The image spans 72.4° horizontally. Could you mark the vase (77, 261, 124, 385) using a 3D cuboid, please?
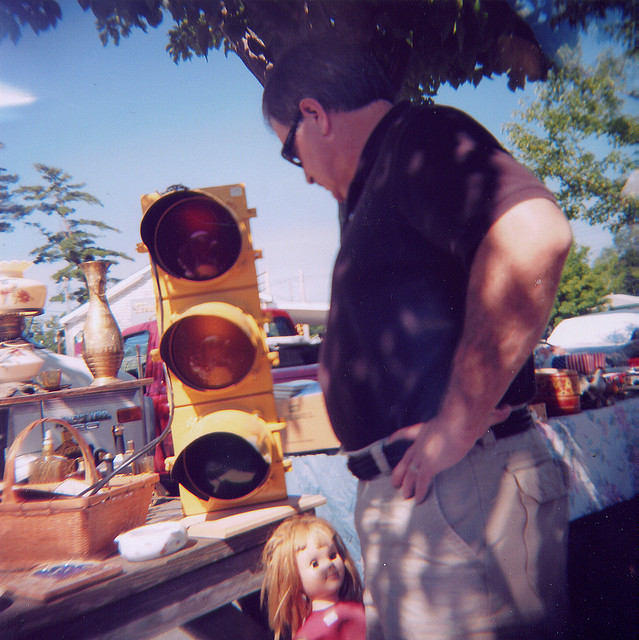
[{"bbox_3d":[-0.840,0.026,1.660,0.120,0.525,0.137,3,6,-9],"label":"vase"}]

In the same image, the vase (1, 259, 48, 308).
[{"bbox_3d":[-1.019,-0.114,1.466,0.134,0.158,0.150,1,-10,-22],"label":"vase"}]

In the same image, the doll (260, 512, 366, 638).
[{"bbox_3d":[-0.007,0.931,1.652,0.275,0.565,0.395,10,8,25],"label":"doll"}]

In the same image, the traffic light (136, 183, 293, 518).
[{"bbox_3d":[-0.364,0.093,1.589,0.431,1.489,0.507,0,6,-13],"label":"traffic light"}]
